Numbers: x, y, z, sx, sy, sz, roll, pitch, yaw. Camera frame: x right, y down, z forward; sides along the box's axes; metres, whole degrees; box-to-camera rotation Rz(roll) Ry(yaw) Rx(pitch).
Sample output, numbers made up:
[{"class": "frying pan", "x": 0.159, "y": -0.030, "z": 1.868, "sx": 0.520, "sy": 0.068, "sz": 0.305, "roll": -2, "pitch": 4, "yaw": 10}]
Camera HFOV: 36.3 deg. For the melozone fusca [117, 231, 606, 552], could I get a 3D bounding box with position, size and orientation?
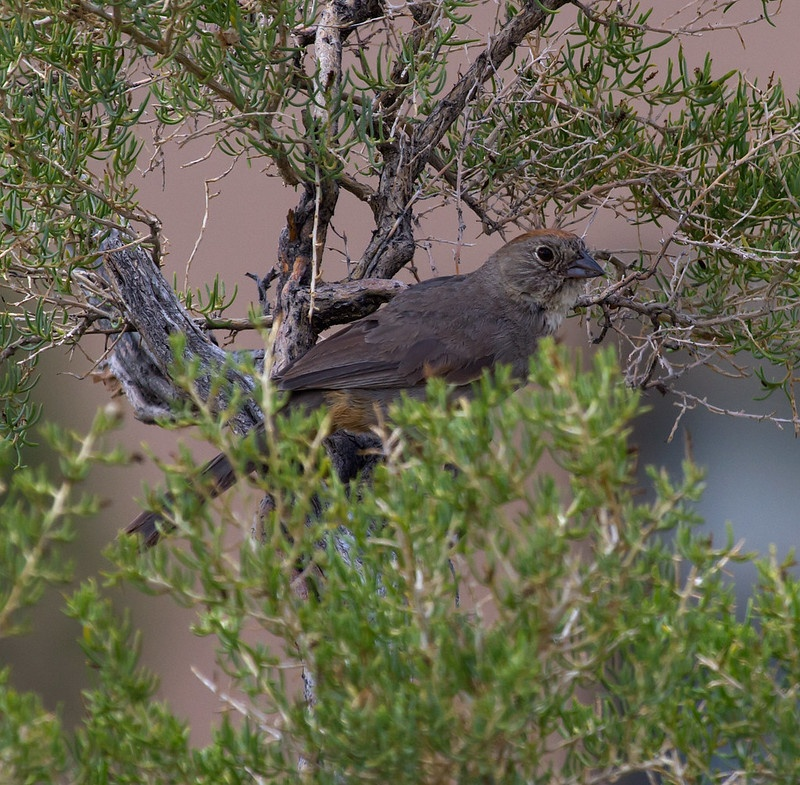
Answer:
[{"class": "melozone fusca", "x": 0.093, "y": -0.158, "z": 3.588, "sx": 1.678, "sy": 0.935, "sz": 0.515, "roll": -12, "pitch": 15, "yaw": -26}]
